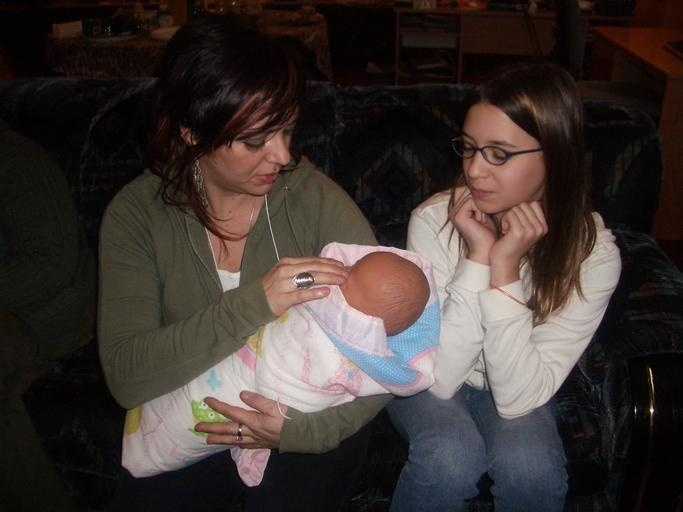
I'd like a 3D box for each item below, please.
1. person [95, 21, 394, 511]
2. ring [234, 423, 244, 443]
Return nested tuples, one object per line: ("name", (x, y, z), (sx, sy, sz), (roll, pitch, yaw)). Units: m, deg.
("person", (-0.335, 0.047, 1.698), (0.888, 1.403, 0.749), (1, 26, 3))
("ring", (-0.305, 0.527, 1.624), (0.025, 0.064, 0.014), (-4, 26, -7))
